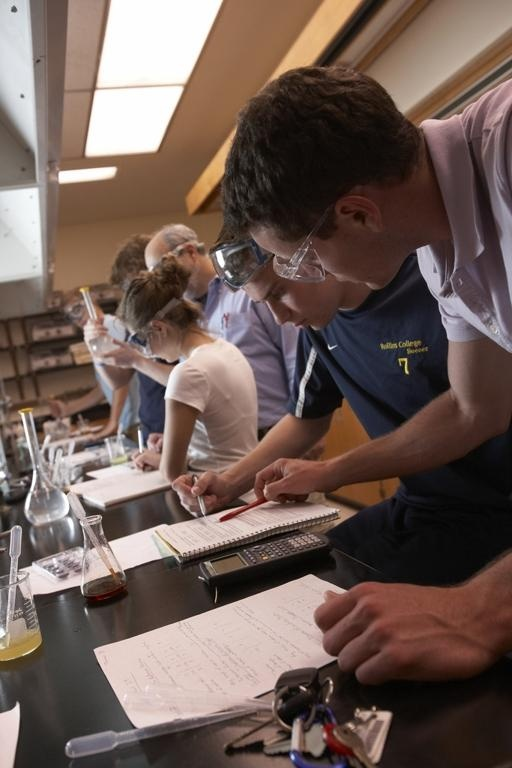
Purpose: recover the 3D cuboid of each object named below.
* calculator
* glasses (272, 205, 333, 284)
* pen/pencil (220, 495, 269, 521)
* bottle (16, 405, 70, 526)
[{"bbox_3d":[0.023,0.317,1.034,0.243,0.028,0.093,-13,4,-12],"label":"calculator"},{"bbox_3d":[0.079,-0.210,0.920,0.048,0.093,0.064,-8,19,-32],"label":"glasses"},{"bbox_3d":[-0.029,0.298,1.365,0.103,0.015,0.016,-29,40,-17],"label":"pen/pencil"},{"bbox_3d":[-0.625,0.244,1.748,0.159,0.352,0.167,2,10,0],"label":"bottle"}]
